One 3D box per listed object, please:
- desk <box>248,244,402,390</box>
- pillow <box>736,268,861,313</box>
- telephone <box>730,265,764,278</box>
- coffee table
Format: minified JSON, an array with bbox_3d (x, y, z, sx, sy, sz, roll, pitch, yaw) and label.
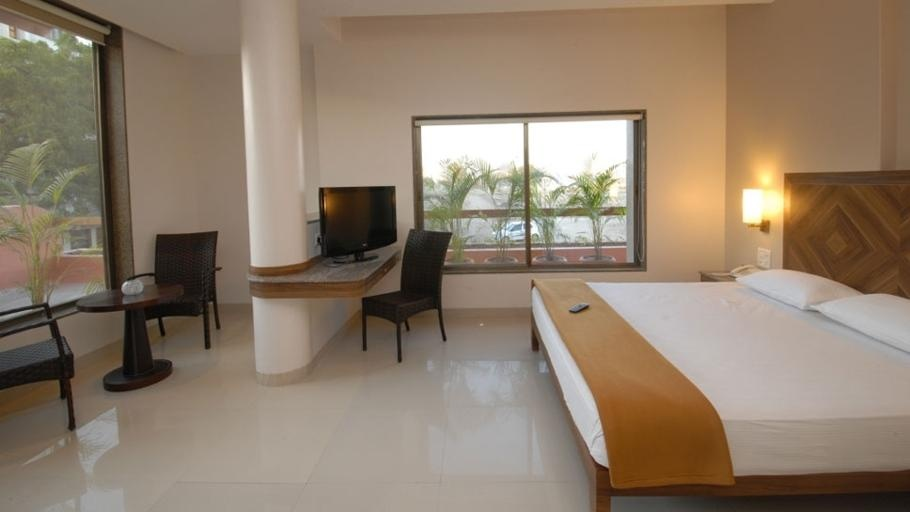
[{"bbox_3d":[-1.478,0.686,7.053,1.221,1.322,1.507,4,9,19],"label":"desk"},{"bbox_3d":[3.559,0.311,6.158,0.447,0.192,0.680,-21,11,-11],"label":"pillow"},{"bbox_3d":[3.526,0.187,7.319,0.272,0.076,0.237,-2,6,30],"label":"telephone"},{"bbox_3d":[-3.590,0.886,6.941,1.090,0.928,1.135,1,6,-13],"label":"coffee table"}]
